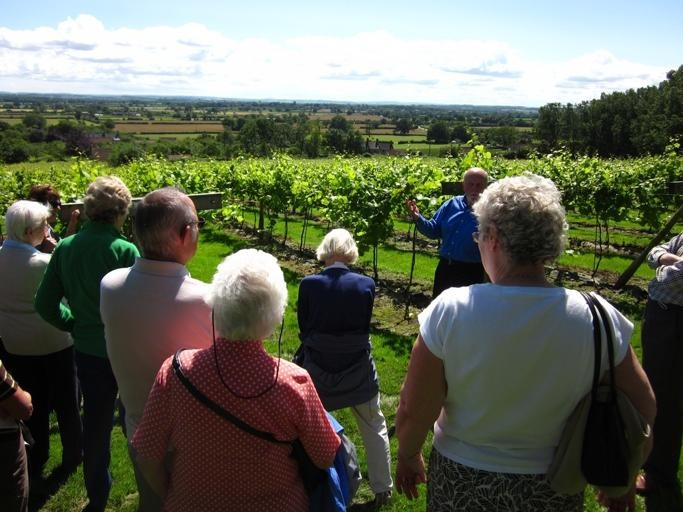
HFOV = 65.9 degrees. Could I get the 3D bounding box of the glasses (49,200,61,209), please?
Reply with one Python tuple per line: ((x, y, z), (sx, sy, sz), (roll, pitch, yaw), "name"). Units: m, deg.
((-2.548, -0.457, 4.669), (0.089, 0.043, 0.107), (1, 14, -11), "glasses")
